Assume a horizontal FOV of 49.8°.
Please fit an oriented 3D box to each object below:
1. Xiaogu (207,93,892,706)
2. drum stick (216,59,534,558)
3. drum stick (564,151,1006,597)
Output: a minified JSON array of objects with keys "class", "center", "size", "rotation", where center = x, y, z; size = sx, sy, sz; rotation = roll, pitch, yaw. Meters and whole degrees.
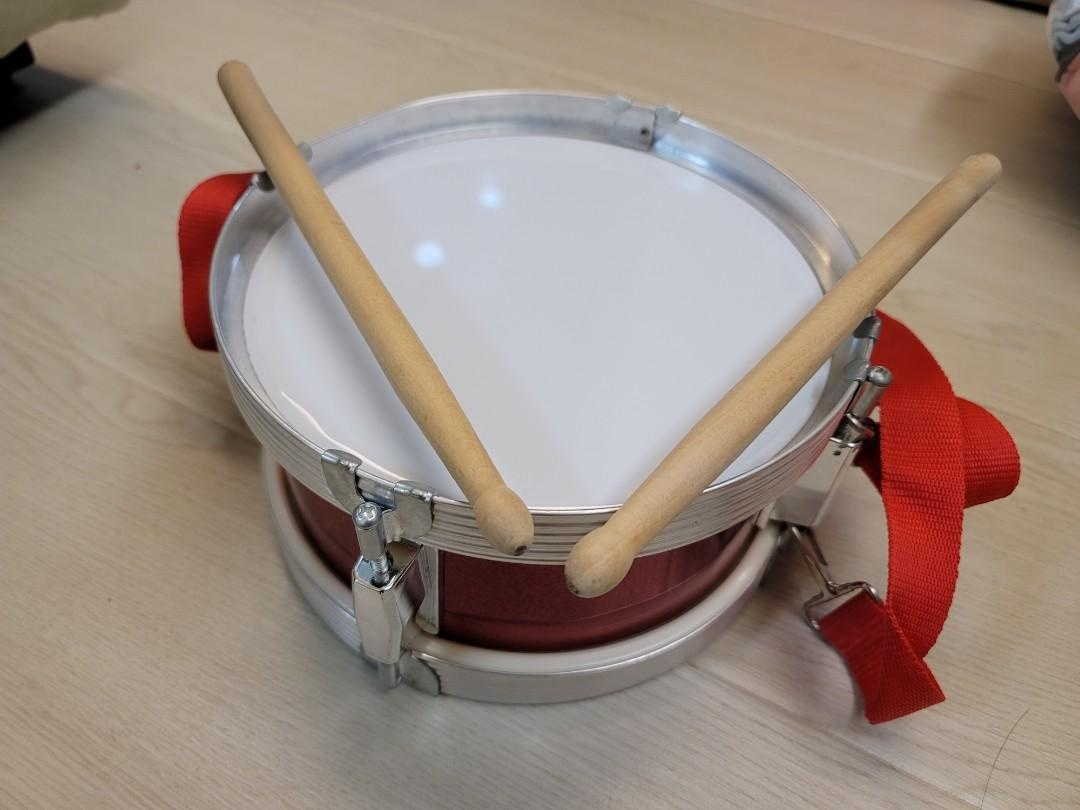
[{"class":"Xiaogu","center":[-0.002,-0.041,1.073],"size":[0.558,0.225,0.601],"rotation":[-3,41,-4]},{"class":"drum stick","center":[-0.142,-0.094,0.908],"size":[0.038,0.038,0.518],"rotation":[-30,67,-7]},{"class":"drum stick","center":[0.204,-0.016,1.001],"size":[0.067,0.057,0.686],"rotation":[28,53,26]}]
